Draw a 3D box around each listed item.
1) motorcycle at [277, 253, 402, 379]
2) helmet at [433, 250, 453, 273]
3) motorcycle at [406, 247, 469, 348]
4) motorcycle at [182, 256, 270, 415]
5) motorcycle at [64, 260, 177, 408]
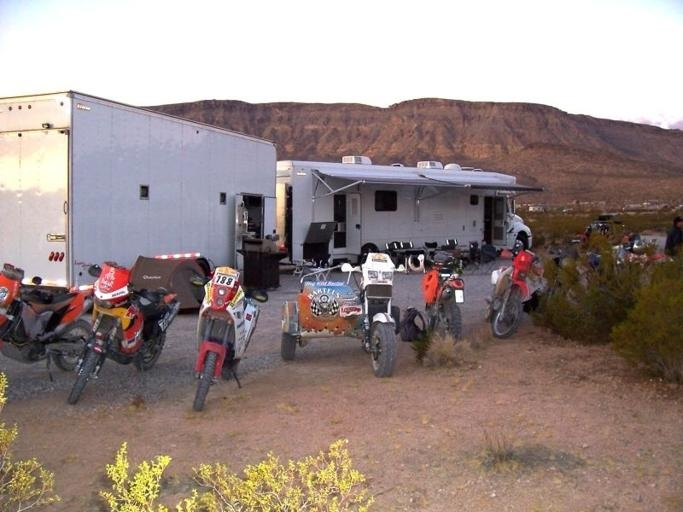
[{"bbox_3d":[-0.081,0.716,7.096,1.088,1.200,1.687,1,-4,-24],"label":"motorcycle"},{"bbox_3d":[1.624,0.106,8.900,0.388,0.254,0.593,0,5,-4],"label":"helmet"},{"bbox_3d":[1.386,0.575,8.069,0.592,1.063,1.546,1,1,-1],"label":"motorcycle"},{"bbox_3d":[-1.237,0.828,5.813,0.433,1.419,0.867,2,6,26],"label":"motorcycle"},{"bbox_3d":[-2.475,0.799,6.321,0.727,1.365,2.189,10,2,3],"label":"motorcycle"}]
